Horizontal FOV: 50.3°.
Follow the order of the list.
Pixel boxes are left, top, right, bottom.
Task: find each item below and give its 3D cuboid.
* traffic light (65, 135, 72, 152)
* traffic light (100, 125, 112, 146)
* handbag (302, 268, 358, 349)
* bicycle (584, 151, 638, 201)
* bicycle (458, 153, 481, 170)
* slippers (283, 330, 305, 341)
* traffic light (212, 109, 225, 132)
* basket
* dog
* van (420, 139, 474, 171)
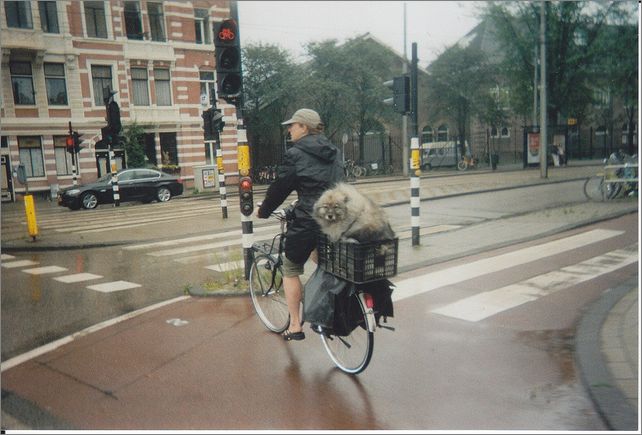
[{"bbox_3d":[-10.045,-2.918,27.341,0.247,0.571,0.356,-5,9,-22],"label":"traffic light"},{"bbox_3d":[-7.428,-2.787,23.568,0.304,0.697,0.452,-5,9,-25],"label":"traffic light"},{"bbox_3d":[0.102,1.422,10.959,0.736,1.104,1.018,-2,18,-33],"label":"handbag"},{"bbox_3d":[8.169,-1.083,19.173,1.351,1.234,0.537,2,9,23],"label":"bicycle"},{"bbox_3d":[8.665,-3.160,40.066,1.250,0.843,0.648,-22,14,-1],"label":"bicycle"},{"bbox_3d":[-0.461,2.005,11.521,0.388,0.187,0.143,7,10,43],"label":"slippers"},{"bbox_3d":[-3.060,-2.858,20.157,0.315,0.652,1.074,-3,9,-9],"label":"traffic light"},{"bbox_3d":[0.534,0.675,10.825,0.612,1.267,2.262,-1,0,-34],"label":"basket"},{"bbox_3d":[0.492,0.000,10.793,1.271,1.056,0.437,-2,8,0],"label":"dog"},{"bbox_3d":[7.499,-3.666,40.969,3.085,1.508,1.323,-5,16,3],"label":"van"}]
